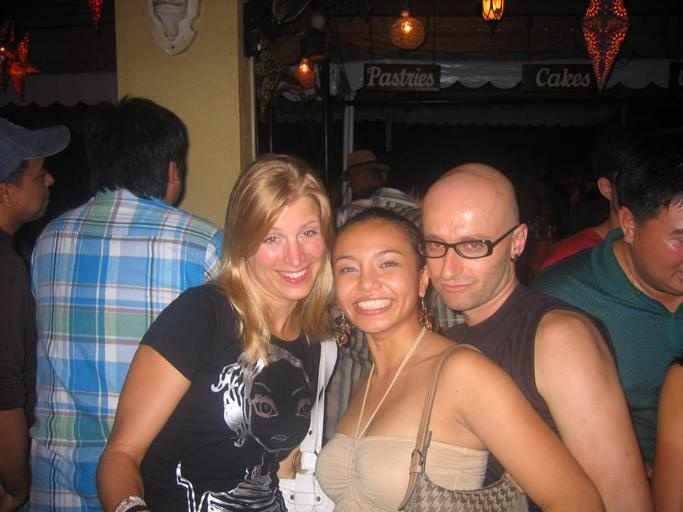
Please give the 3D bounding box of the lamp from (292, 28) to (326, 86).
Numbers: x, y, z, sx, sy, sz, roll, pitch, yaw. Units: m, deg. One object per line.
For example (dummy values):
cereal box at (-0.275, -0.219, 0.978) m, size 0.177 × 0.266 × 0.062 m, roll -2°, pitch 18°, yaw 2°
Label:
lamp at (-0.287, -1.910, 6.261) m, size 0.295 × 0.444 × 0.113 m, roll 26°, pitch 20°, yaw 26°
